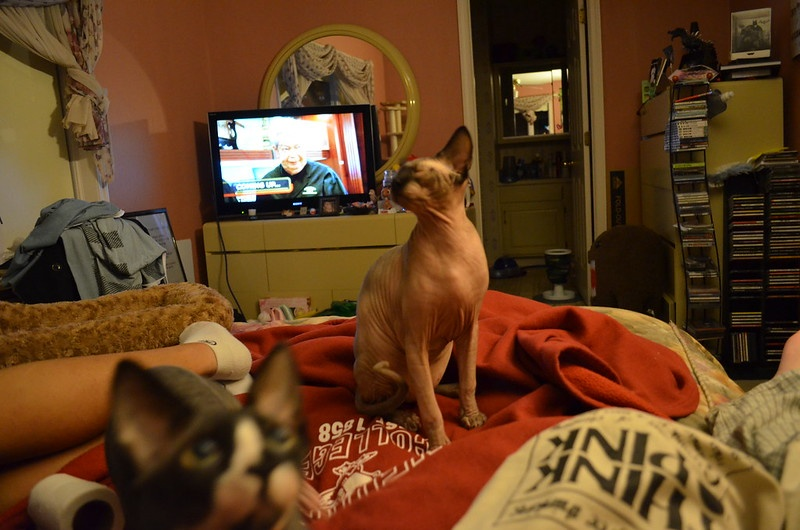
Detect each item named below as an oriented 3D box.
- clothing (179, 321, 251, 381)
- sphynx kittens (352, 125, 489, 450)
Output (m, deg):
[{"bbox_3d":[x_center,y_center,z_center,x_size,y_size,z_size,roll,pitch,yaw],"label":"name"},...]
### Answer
[{"bbox_3d":[-0.383,0.141,1.239,0.109,0.081,0.188,-16,25,-30],"label":"clothing"},{"bbox_3d":[0.030,0.053,1.296,0.318,0.668,0.182,-5,11,0],"label":"sphynx kittens"}]
